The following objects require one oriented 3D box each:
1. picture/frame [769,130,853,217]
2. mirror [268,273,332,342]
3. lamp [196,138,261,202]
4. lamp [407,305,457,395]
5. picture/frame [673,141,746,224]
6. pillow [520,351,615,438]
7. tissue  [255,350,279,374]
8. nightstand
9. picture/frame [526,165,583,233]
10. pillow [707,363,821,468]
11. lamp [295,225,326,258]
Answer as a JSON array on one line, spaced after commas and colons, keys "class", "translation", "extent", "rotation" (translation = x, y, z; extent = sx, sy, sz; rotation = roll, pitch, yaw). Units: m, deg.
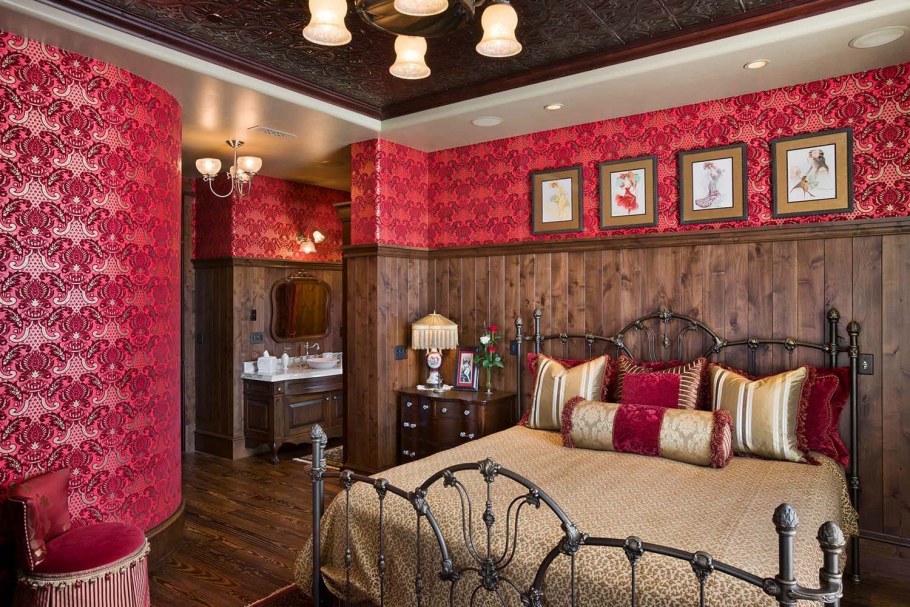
[{"class": "picture/frame", "translation": [2.712, -0.972, 4.518], "extent": [0.734, 0.813, 0.037], "rotation": [-2, -5, 28]}, {"class": "mirror", "translation": [-1.956, 0.040, 7.462], "extent": [0.123, 0.869, 0.957], "rotation": [-3, -4, 40]}, {"class": "lamp", "translation": [-2.246, -1.341, 6.098], "extent": [0.697, 0.597, 0.829], "rotation": [1, -5, -24]}, {"class": "lamp", "translation": [-0.194, 0.455, 5.757], "extent": [0.702, 0.936, 0.668], "rotation": [0, -8, 1]}, {"class": "picture/frame", "translation": [2.090, -0.977, 4.855], "extent": [0.753, 0.832, 0.040], "rotation": [-2, -2, 30]}, {"class": "pillow", "translation": [0.939, 0.738, 4.852], "extent": [0.622, 0.536, 0.310], "rotation": [-6, -16, 36]}, {"class": "tissue ", "translation": [-2.130, 0.681, 6.882], "extent": [0.250, 0.210, 0.243], "rotation": [0, -4, 21]}, {"class": "nightstand", "translation": [0.009, 1.022, 5.827], "extent": [1.139, 0.987, 0.687], "rotation": [-3, -5, 32]}, {"class": "picture/frame", "translation": [0.939, -0.958, 5.499], "extent": [0.707, 0.761, 0.061], "rotation": [-2, -3, 33]}, {"class": "pillow", "translation": [2.182, 0.811, 4.212], "extent": [0.647, 0.587, 0.246], "rotation": [-5, -30, 35]}, {"class": "lamp", "translation": [-1.817, -0.762, 7.571], "extent": [0.261, 0.217, 0.354], "rotation": [2, 9, -37]}]
